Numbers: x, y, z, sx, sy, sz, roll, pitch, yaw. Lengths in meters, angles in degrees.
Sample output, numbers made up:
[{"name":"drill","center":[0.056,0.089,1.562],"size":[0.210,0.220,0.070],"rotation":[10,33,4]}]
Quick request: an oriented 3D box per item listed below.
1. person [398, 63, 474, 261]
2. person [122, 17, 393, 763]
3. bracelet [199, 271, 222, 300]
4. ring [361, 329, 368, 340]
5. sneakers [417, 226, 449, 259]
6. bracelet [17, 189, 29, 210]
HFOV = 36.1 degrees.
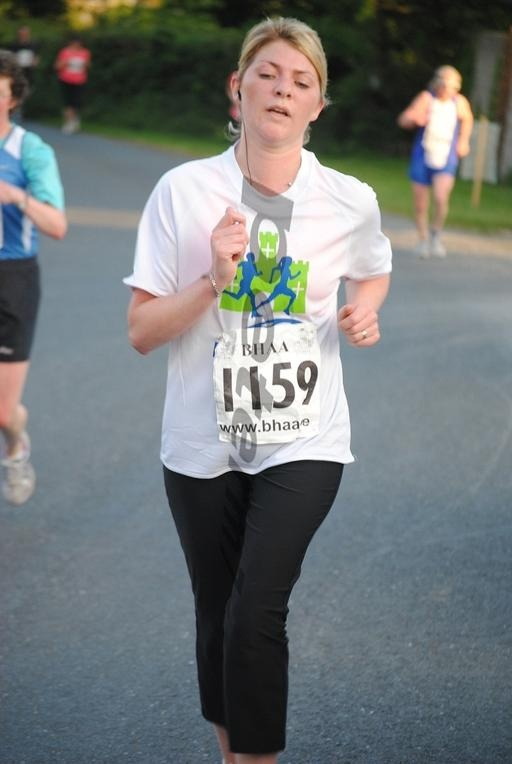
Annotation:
[{"name":"person","center":[2.099,-2.574,9.284],"size":[0.748,2.163,0.977],"rotation":[5,13,9]},{"name":"person","center":[0.030,0.064,1.605],"size":[0.428,1.523,0.529],"rotation":[13,17,38]},{"name":"bracelet","center":[-0.079,-0.170,1.385],"size":[0.033,0.040,0.019],"rotation":[-4,18,30]},{"name":"ring","center":[0.226,-0.098,1.633],"size":[0.013,0.017,0.006],"rotation":[1,8,-1]},{"name":"sneakers","center":[2.208,-1.681,9.814],"size":[0.236,0.287,0.673],"rotation":[1,5,6]},{"name":"bracelet","center":[-0.799,-0.618,2.694],"size":[0.044,0.056,0.021],"rotation":[4,15,7]}]
